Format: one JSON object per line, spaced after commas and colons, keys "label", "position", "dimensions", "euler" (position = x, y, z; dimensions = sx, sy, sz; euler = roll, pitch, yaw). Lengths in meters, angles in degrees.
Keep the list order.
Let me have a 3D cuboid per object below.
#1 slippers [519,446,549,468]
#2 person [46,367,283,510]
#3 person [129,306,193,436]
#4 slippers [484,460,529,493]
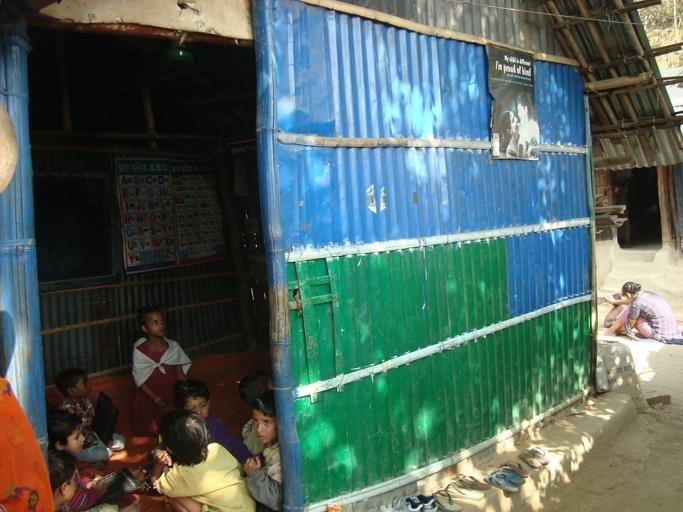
{"label": "slippers", "position": [2.013, 2.122, 5.420], "dimensions": [0.156, 0.086, 0.228], "euler": [-5, 9, -26]}
{"label": "person", "position": [-1.344, 1.699, 4.819], "dimensions": [1.526, 0.779, 1.157], "euler": [18, 17, 9]}
{"label": "person", "position": [-2.033, 1.372, 5.873], "dimensions": [0.613, 1.634, 0.594], "euler": [-13, 20, -42]}
{"label": "slippers", "position": [1.620, 2.179, 5.064], "dimensions": [0.228, 0.099, 0.286], "euler": [-26, 18, -38]}
